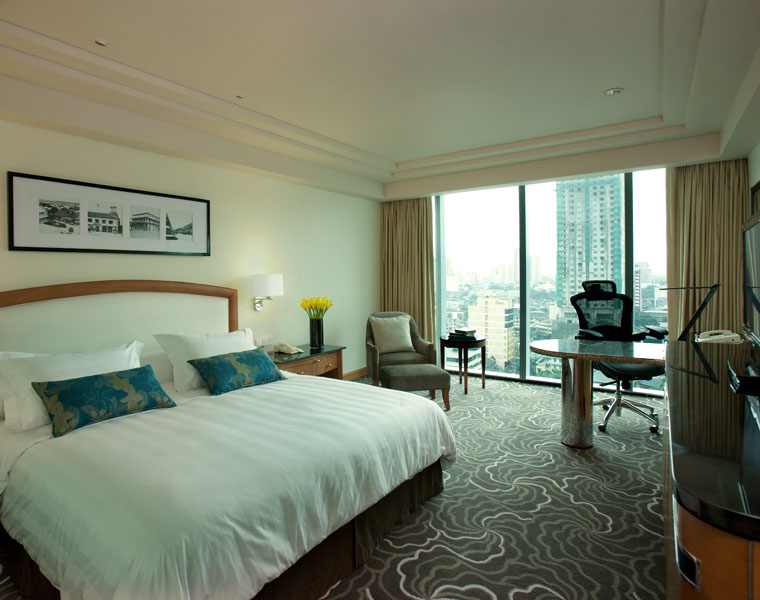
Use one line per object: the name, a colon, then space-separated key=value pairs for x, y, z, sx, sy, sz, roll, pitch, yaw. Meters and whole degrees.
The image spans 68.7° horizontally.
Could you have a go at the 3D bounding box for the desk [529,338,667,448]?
desk: x=1.756 y=0.778 z=4.521 sx=0.975 sy=0.897 sz=0.854 roll=4 pitch=10 yaw=33

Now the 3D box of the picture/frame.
picture/frame: x=-2.200 y=-0.660 z=4.426 sx=1.313 sy=0.648 sz=0.207 roll=-8 pitch=11 yaw=-38

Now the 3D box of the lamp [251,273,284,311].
lamp: x=-1.100 y=-0.061 z=5.543 sx=0.342 sy=0.424 sz=0.345 roll=-2 pitch=-2 yaw=45

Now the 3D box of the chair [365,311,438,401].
chair: x=0.178 y=0.577 z=6.409 sx=0.788 sy=1.126 sz=0.875 roll=0 pitch=-9 yaw=-12

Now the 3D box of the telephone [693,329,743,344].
telephone: x=2.516 y=0.285 z=4.129 sx=0.284 sy=0.091 sz=0.218 roll=-2 pitch=0 yaw=19

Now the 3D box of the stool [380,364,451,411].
stool: x=0.366 y=0.823 z=5.632 sx=0.501 sy=0.330 sz=0.497 roll=0 pitch=-3 yaw=-23

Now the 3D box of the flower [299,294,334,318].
flower: x=-0.692 y=0.076 z=5.987 sx=0.257 sy=0.204 sz=0.269 roll=-2 pitch=1 yaw=16
